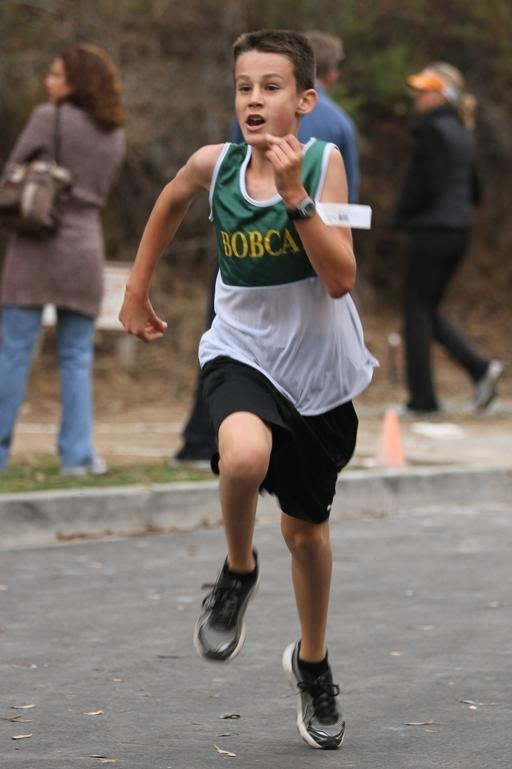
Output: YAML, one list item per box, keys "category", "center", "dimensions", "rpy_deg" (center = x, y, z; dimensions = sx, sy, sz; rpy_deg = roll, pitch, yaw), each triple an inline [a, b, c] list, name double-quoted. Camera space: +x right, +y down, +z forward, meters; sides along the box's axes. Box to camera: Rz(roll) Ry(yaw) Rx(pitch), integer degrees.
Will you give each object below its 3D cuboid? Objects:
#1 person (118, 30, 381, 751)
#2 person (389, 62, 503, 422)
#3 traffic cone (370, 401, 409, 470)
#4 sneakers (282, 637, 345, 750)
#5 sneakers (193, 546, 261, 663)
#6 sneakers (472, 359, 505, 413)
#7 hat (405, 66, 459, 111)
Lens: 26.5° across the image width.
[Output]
- category: "person"
  center: [0.013, -0.025, 2.502]
  dimensions: [0.544, 1.524, 0.813]
  rpy_deg: [1, 17, -14]
- category: "person"
  center: [1.345, -1.034, 7.702]
  dimensions: [0.744, 2.369, 1.034]
  rpy_deg: [3, 16, -6]
- category: "traffic cone"
  center: [0.698, 0.296, 5.747]
  dimensions: [0.268, 0.305, 0.271]
  rpy_deg: [1, 4, 5]
- category: "sneakers"
  center: [0.134, 0.706, 2.457]
  dimensions: [0.078, 0.080, 0.212]
  rpy_deg: [-3, 53, -26]
- category: "sneakers"
  center: [-0.041, 0.516, 2.638]
  dimensions: [0.111, 0.126, 0.297]
  rpy_deg: [16, 49, 1]
- category: "sneakers"
  center: [1.604, 0.029, 7.615]
  dimensions: [0.200, 0.419, 0.150]
  rpy_deg: [19, 31, 5]
- category: "hat"
  center: [1.228, -2.091, 7.606]
  dimensions: [0.359, 0.173, 0.208]
  rpy_deg: [25, 26, -6]
